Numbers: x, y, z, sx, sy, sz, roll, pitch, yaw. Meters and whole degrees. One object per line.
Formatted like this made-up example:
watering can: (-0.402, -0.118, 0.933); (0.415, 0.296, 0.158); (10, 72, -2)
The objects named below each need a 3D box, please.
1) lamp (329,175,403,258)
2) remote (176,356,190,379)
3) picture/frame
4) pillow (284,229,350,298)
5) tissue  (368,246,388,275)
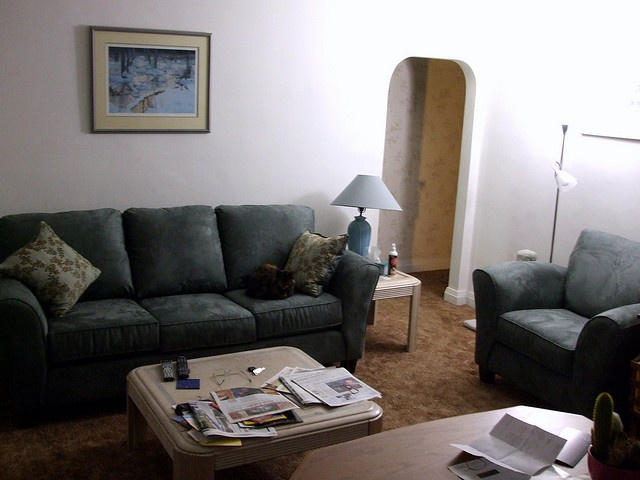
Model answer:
lamp: (0.348, -0.288, 4.206); (0.610, 0.745, 0.629); (10, 16, 31)
remote: (-0.696, 0.653, 2.505); (0.051, 0.038, 0.158); (2, 4, -15)
picture/frame: (-1.300, -1.212, 3.664); (0.796, 0.728, 0.065); (-2, 7, -27)
pillow: (-0.042, 0.158, 3.473); (0.135, 0.434, 0.437); (29, -5, -41)
tissue : (0.462, 0.167, 3.999); (0.177, 0.246, 0.177); (-8, 16, -24)
